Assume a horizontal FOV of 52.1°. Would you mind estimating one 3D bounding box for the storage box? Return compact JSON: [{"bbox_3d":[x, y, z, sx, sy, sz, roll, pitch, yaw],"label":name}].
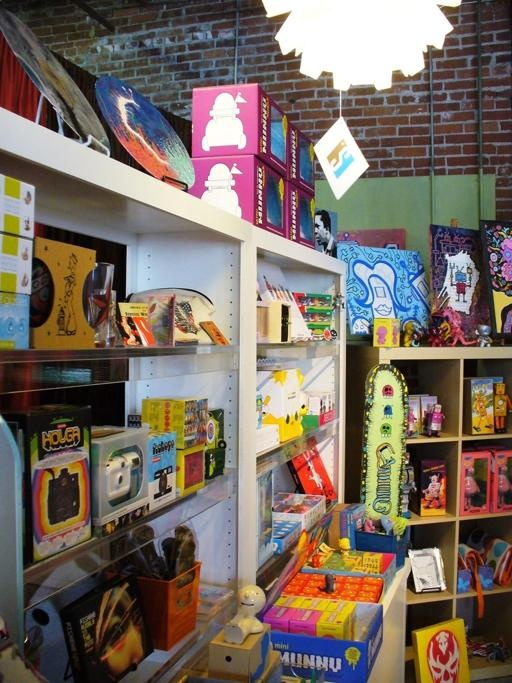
[{"bbox_3d":[-0.072,-0.800,1.923,0.225,0.234,0.466,1,21,7],"label":"storage box"}]
